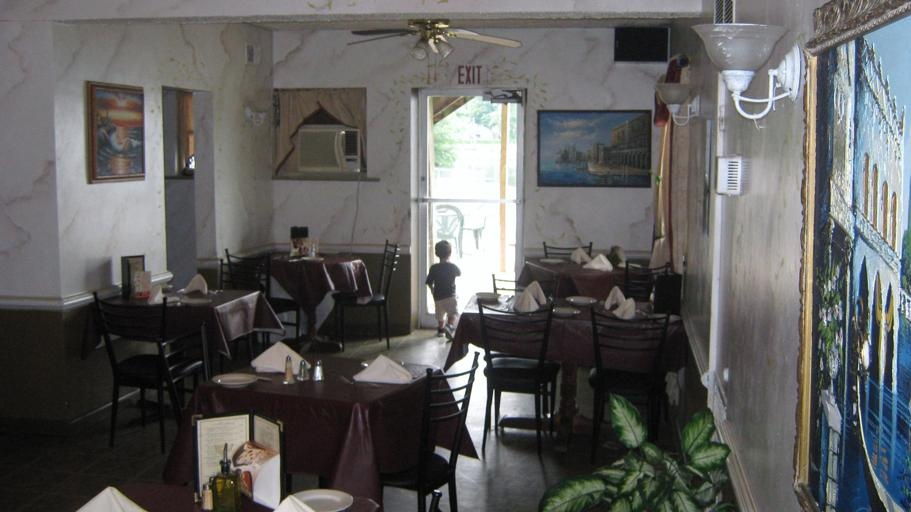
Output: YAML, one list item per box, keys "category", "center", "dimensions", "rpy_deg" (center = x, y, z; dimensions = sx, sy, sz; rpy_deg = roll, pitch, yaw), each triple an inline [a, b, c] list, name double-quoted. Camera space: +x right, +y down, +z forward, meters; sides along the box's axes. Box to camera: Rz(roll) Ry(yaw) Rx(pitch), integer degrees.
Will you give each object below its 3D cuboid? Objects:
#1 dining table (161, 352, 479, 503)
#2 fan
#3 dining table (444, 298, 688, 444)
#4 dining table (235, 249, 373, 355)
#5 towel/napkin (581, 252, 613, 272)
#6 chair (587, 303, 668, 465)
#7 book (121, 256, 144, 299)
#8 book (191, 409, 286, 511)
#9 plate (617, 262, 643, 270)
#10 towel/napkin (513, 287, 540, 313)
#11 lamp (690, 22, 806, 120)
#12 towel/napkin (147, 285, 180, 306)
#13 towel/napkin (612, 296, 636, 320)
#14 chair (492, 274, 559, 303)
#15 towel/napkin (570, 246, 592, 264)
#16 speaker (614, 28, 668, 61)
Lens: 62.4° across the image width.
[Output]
- category: "dining table"
  center: [-0.770, 1.135, 4.901]
  dimensions: [1.164, 0.489, 1.127]
  rpy_deg: [0, -2, 23]
- category: "fan"
  center: [-0.138, -2.266, 7.817]
  dimensions: [1.038, 0.255, 1.128]
  rpy_deg: [3, 9, 3]
- category: "dining table"
  center: [0.813, 0.790, 6.920]
  dimensions: [1.645, 0.861, 1.181]
  rpy_deg: [1, 7, 13]
- category: "dining table"
  center: [-1.718, 0.325, 8.769]
  dimensions: [1.654, 1.055, 1.206]
  rpy_deg: [4, 8, 16]
- category: "towel/napkin"
  center: [1.581, 0.063, 8.302]
  dimensions: [0.220, 0.098, 0.214]
  rpy_deg: [-2, 6, -27]
- category: "chair"
  center: [1.453, 1.059, 6.294]
  dimensions: [0.636, 1.250, 0.575]
  rpy_deg: [2, 3, 15]
- category: "book"
  center: [-3.051, 0.218, 7.059]
  dimensions: [0.149, 0.365, 0.382]
  rpy_deg: [-2, -3, 1]
- category: "book"
  center: [-1.067, 0.998, 3.835]
  dimensions: [0.524, 0.588, 0.424]
  rpy_deg: [0, 0, 4]
- category: "plate"
  center: [2.025, 0.120, 8.634]
  dimensions: [0.212, 0.048, 0.203]
  rpy_deg: [0, 1, 1]
- category: "towel/napkin"
  center: [0.619, 0.405, 6.788]
  dimensions: [0.298, 0.279, 0.181]
  rpy_deg: [-2, -15, 14]
- category: "lamp"
  center: [1.445, -0.831, 3.517]
  dimensions: [0.504, 0.392, 0.438]
  rpy_deg: [2, 4, -15]
- category: "towel/napkin"
  center: [-2.745, 0.380, 7.075]
  dimensions: [0.240, 0.091, 0.314]
  rpy_deg: [1, 5, -6]
- category: "towel/napkin"
  center: [1.484, 0.454, 6.540]
  dimensions: [0.202, 0.100, 0.162]
  rpy_deg: [-12, 16, -15]
- category: "chair"
  center: [0.810, 0.412, 8.406]
  dimensions: [0.420, 0.193, 0.413]
  rpy_deg: [0, 12, -9]
- category: "towel/napkin"
  center: [1.468, 0.006, 8.776]
  dimensions: [0.191, 0.116, 0.212]
  rpy_deg: [3, 23, 17]
- category: "speaker"
  center: [2.240, -2.525, 9.014]
  dimensions: [0.627, 0.400, 0.141]
  rpy_deg: [1, 4, 4]
